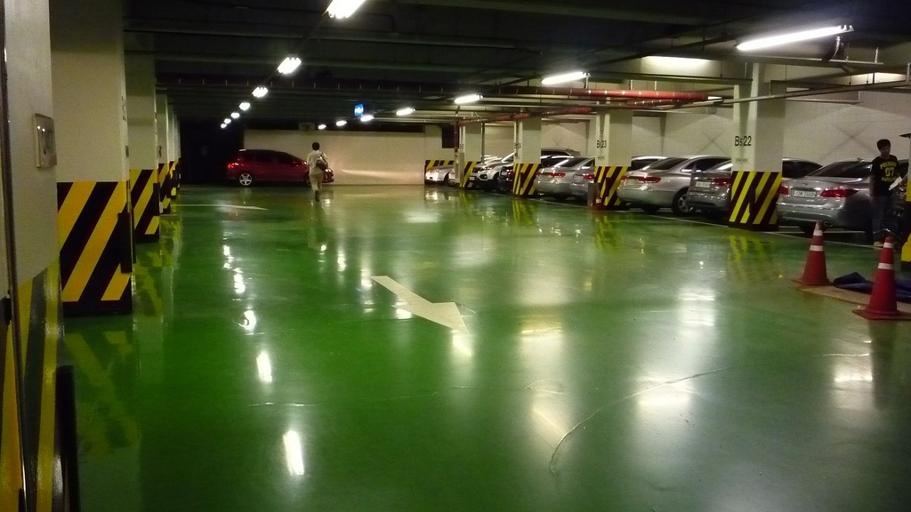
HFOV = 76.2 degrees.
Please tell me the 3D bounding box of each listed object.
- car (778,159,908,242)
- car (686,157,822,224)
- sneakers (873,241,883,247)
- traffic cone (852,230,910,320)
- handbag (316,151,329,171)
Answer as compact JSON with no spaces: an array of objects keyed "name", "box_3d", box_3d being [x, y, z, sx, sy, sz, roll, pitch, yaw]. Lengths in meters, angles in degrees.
[{"name":"car","box_3d":[9.186,-1.332,13.207,3.971,1.343,1.648,-6,7,-29]},{"name":"car","box_3d":[8.272,-1.831,16.106,3.653,1.174,1.627,-5,7,-24]},{"name":"sneakers","box_3d":[8.699,-0.234,11.990,0.164,0.114,0.156,-3,2,-42]},{"name":"traffic cone","box_3d":[5.434,0.274,7.356,0.645,0.926,0.683,3,15,12]},{"name":"handbag","box_3d":[-4.926,-3.475,21.490,0.364,0.726,0.900,-2,16,-8]}]
